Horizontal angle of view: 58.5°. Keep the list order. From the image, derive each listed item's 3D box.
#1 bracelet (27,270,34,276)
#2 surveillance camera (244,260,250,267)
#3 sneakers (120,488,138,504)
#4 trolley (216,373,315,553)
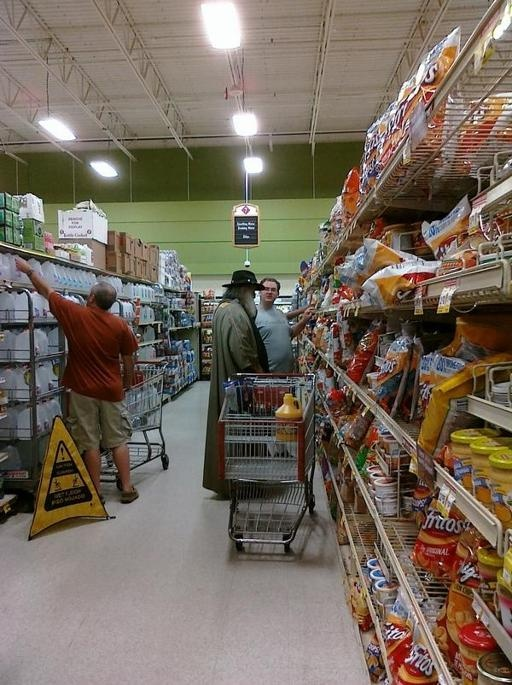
[{"bbox_3d":[-1.563,-0.484,3.203,0.042,0.035,0.043,-9,15,21],"label":"bracelet"},{"bbox_3d":[-0.205,-1.790,10.397,0.182,0.087,0.326,-1,5,-2],"label":"surveillance camera"},{"bbox_3d":[-0.941,1.153,3.418,0.059,0.071,0.154,0,1,1],"label":"sneakers"},{"bbox_3d":[0.070,0.699,3.078,0.568,1.010,1.106,0,1,3],"label":"trolley"}]
